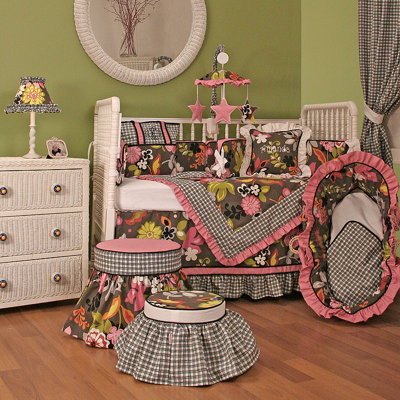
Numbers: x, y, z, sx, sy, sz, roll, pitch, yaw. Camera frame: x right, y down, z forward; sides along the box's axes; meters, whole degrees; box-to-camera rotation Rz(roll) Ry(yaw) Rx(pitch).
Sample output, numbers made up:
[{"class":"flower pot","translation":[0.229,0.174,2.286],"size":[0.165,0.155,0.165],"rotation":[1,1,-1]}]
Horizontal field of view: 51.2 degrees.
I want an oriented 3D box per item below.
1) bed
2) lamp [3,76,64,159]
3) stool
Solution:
[{"class":"bed","translation":[0.055,-0.132,2.968],"size":[1.470,0.818,1.387],"rotation":[1,1,-25]},{"class":"lamp","translation":[-1.027,-0.488,2.462],"size":[0.244,0.496,0.417],"rotation":[-3,4,-43]},{"class":"stool","translation":[-0.189,0.361,1.611],"size":[0.608,0.244,0.534],"rotation":[5,7,37]}]
